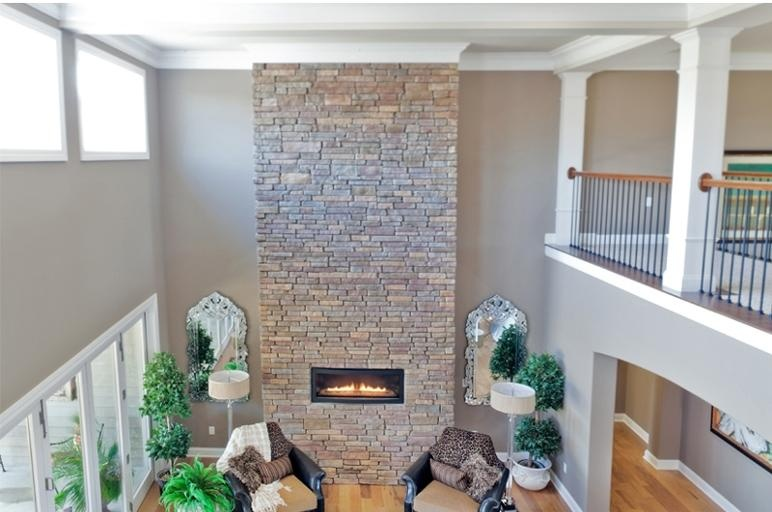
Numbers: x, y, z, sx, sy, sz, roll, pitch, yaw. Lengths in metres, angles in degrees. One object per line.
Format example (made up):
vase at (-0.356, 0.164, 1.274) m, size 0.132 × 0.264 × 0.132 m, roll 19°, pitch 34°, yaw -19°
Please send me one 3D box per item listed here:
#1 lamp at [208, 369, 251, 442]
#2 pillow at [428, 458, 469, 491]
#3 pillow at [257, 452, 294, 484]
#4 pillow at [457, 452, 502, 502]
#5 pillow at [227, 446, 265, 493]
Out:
lamp at (-2.459, 2.566, 8.993) m, size 0.513 × 1.071 × 0.508 m, roll -13°, pitch -17°, yaw 31°
pillow at (0.972, 3.281, 8.507) m, size 0.744 × 0.388 × 0.241 m, roll 1°, pitch 6°, yaw 39°
pillow at (-1.566, 3.101, 8.358) m, size 0.132 × 0.252 × 0.428 m, roll -42°, pitch -22°, yaw 32°
pillow at (1.345, 3.200, 8.264) m, size 0.397 × 0.531 × 0.587 m, roll -8°, pitch 10°, yaw -40°
pillow at (-1.980, 3.083, 8.237) m, size 0.460 × 0.128 × 0.463 m, roll 45°, pitch 20°, yaw 10°
